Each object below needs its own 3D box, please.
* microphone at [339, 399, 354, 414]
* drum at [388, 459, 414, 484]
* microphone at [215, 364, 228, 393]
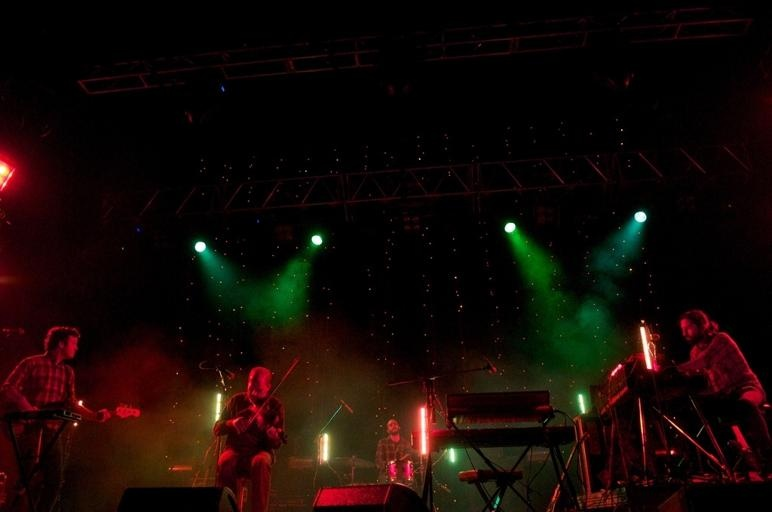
[{"bbox_3d":[-0.898,3.354,14.659,0.141,0.171,0.631,-37,-5,-7],"label":"microphone"},{"bbox_3d":[0.316,4.207,12.977,0.450,0.480,0.734,-3,-35,7],"label":"drum"},{"bbox_3d":[-3.385,2.536,13.663,0.283,0.711,0.163,7,-29,-40],"label":"microphone"}]
